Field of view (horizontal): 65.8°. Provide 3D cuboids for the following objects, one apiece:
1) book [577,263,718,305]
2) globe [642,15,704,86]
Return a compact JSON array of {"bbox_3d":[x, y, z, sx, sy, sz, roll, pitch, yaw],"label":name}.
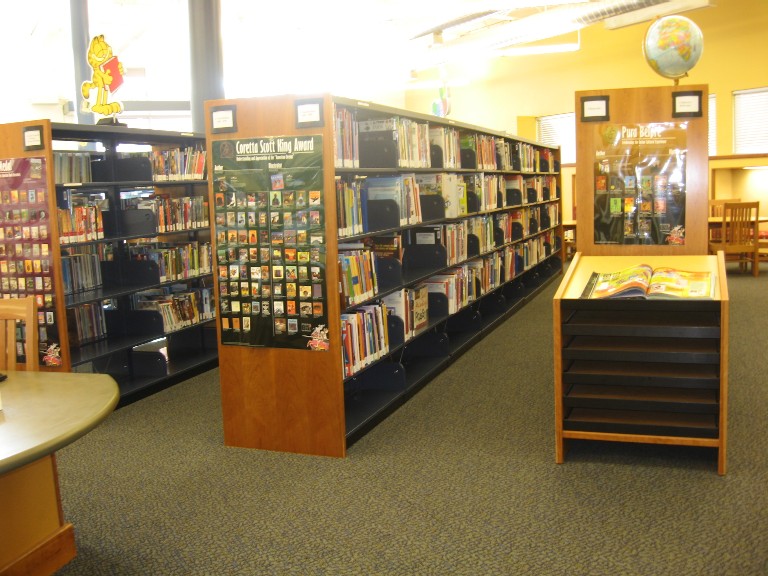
[{"bbox_3d":[1.606,-0.035,3.621,0.731,0.099,0.661,3,14,21],"label":"book"},{"bbox_3d":[2.132,-1.808,4.505,0.406,0.514,0.386,9,16,40],"label":"globe"}]
